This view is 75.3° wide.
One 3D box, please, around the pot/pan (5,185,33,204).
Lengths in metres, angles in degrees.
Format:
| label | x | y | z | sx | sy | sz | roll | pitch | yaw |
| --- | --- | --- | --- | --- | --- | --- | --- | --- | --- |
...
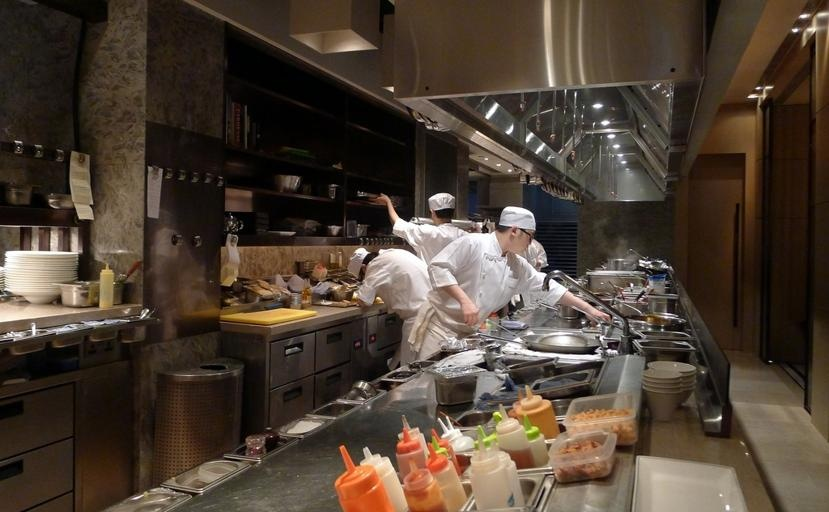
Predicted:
| label | x | y | z | sx | sy | sz | roll | pitch | yaw |
| --- | --- | --- | --- | --- | --- | --- | --- | --- | --- |
| pot/pan | -2.785 | -0.428 | 3.766 | 0.135 | 0.098 | 0.136 | 0 | -5 | 3 |

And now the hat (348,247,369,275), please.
| label | x | y | z | sx | sy | sz | roll | pitch | yaw |
| --- | --- | --- | --- | --- | --- | --- | --- | --- | --- |
| hat | -0.649 | 0.064 | 5.980 | 0.141 | 0.290 | 0.209 | 28 | 39 | -4 |

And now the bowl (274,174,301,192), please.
| label | x | y | z | sx | sy | sz | roll | pitch | yaw |
| --- | --- | --- | --- | --- | --- | --- | --- | --- | --- |
| bowl | -1.318 | -0.752 | 5.563 | 0.213 | 0.120 | 0.211 | -2 | -3 | 0 |

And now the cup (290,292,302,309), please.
| label | x | y | z | sx | sy | sz | roll | pitch | yaw |
| --- | --- | --- | --- | --- | --- | --- | --- | --- | --- |
| cup | -1.158 | 0.428 | 5.179 | 0.136 | 0.133 | 0.133 | 1 | 4 | 0 |

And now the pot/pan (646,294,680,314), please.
| label | x | y | z | sx | sy | sz | roll | pitch | yaw |
| --- | --- | --- | --- | --- | --- | --- | --- | --- | --- |
| pot/pan | 2.248 | 0.421 | 4.854 | 0.269 | 0.239 | 0.264 | 0 | -2 | 25 |

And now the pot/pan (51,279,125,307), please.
| label | x | y | z | sx | sy | sz | roll | pitch | yaw |
| --- | --- | --- | --- | --- | --- | --- | --- | --- | --- |
| pot/pan | -2.389 | 0.257 | 3.918 | 0.216 | 0.110 | 0.323 | 0 | 0 | 10 |

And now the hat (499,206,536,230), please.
| label | x | y | z | sx | sy | sz | roll | pitch | yaw |
| --- | --- | --- | --- | --- | --- | --- | --- | --- | --- |
| hat | 0.898 | -0.305 | 4.539 | 0.237 | 0.113 | 0.231 | 7 | 3 | 25 |

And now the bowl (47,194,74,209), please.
| label | x | y | z | sx | sy | sz | roll | pitch | yaw |
| --- | --- | --- | --- | --- | --- | --- | --- | --- | --- |
| bowl | -2.619 | -0.406 | 3.942 | 0.129 | 0.062 | 0.129 | 1 | -2 | 0 |

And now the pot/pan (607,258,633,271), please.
| label | x | y | z | sx | sy | sz | roll | pitch | yaw |
| --- | --- | --- | --- | --- | --- | --- | --- | --- | --- |
| pot/pan | 3.520 | 0.135 | 9.157 | 0.411 | 0.255 | 0.554 | -5 | 4 | 14 |

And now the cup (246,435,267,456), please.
| label | x | y | z | sx | sy | sz | roll | pitch | yaw |
| --- | --- | --- | --- | --- | --- | --- | --- | --- | --- |
| cup | -0.755 | 0.892 | 2.535 | 0.096 | 0.073 | 0.090 | 1 | -6 | 0 |

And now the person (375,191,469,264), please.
| label | x | y | z | sx | sy | sz | roll | pitch | yaw |
| --- | --- | --- | --- | --- | --- | --- | --- | --- | --- |
| person | 0.026 | -0.344 | 6.348 | 1.071 | 1.433 | 0.488 | -1 | -2 | -3 |

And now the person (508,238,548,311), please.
| label | x | y | z | sx | sy | sz | roll | pitch | yaw |
| --- | --- | --- | --- | --- | --- | --- | --- | --- | --- |
| person | 1.185 | 0.205 | 5.708 | 0.357 | 0.508 | 1.256 | -1 | 15 | 11 |

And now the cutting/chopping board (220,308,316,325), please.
| label | x | y | z | sx | sy | sz | roll | pitch | yaw |
| --- | --- | --- | --- | --- | --- | --- | --- | --- | --- |
| cutting/chopping board | -1.285 | 0.523 | 4.733 | 0.590 | 0.107 | 0.622 | -2 | 1 | 29 |

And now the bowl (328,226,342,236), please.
| label | x | y | z | sx | sy | sz | roll | pitch | yaw |
| --- | --- | --- | --- | --- | --- | --- | --- | --- | --- |
| bowl | -0.913 | -0.295 | 6.108 | 0.122 | 0.082 | 0.121 | -3 | -8 | 0 |

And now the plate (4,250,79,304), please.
| label | x | y | z | sx | sy | sz | roll | pitch | yaw |
| --- | --- | --- | --- | --- | --- | --- | --- | --- | --- |
| plate | -2.704 | 0.141 | 3.971 | 0.444 | 0.290 | 0.421 | 2 | -2 | -14 |

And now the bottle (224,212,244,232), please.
| label | x | y | z | sx | sy | sz | roll | pitch | yaw |
| --- | --- | --- | --- | --- | --- | --- | --- | --- | --- |
| bottle | -1.742 | -0.311 | 4.993 | 0.237 | 0.188 | 0.132 | 1 | 0 | -7 |

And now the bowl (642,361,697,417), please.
| label | x | y | z | sx | sy | sz | roll | pitch | yaw |
| --- | --- | --- | --- | --- | --- | --- | --- | --- | --- |
| bowl | 1.425 | 0.735 | 3.044 | 0.295 | 0.242 | 0.305 | 1 | -4 | 0 |

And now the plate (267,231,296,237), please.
| label | x | y | z | sx | sy | sz | roll | pitch | yaw |
| --- | --- | --- | --- | --- | --- | --- | --- | --- | --- |
| plate | -1.359 | -0.230 | 5.451 | 0.111 | 0.043 | 0.404 | -2 | 1 | 20 |

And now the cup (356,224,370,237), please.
| label | x | y | z | sx | sy | sz | roll | pitch | yaw |
| --- | --- | --- | --- | --- | --- | --- | --- | --- | --- |
| cup | -0.658 | -0.326 | 6.587 | 0.137 | 0.148 | 0.104 | -4 | -3 | -2 |
